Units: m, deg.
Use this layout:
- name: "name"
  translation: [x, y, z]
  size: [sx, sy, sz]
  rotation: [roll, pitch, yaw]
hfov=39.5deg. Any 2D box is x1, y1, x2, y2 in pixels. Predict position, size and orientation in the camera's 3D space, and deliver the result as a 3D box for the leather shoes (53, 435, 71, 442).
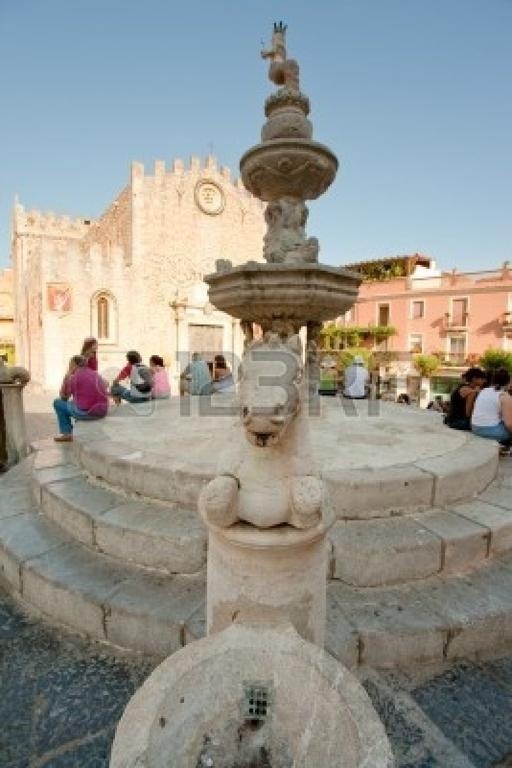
- name: "leather shoes"
  translation: [-1.391, 0.388, 5.119]
  size: [0.104, 0.051, 0.058]
  rotation: [7, 1, -6]
